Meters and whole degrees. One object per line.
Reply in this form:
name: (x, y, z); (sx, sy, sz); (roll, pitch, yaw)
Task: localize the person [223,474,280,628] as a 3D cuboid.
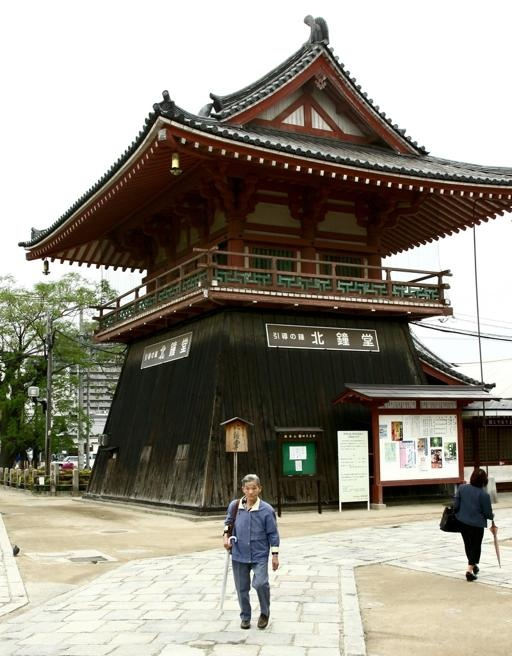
person: (-0.078, 1.949, 5.464); (0.529, 1.253, 0.477); (-3, -15, 13)

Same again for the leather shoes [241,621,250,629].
leather shoes: (-0.087, 2.517, 5.260); (0.082, 0.053, 0.119); (1, -14, -1)

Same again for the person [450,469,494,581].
person: (2.774, 2.472, 7.907); (0.463, 1.301, 0.810); (-4, -15, 18)

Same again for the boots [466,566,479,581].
boots: (2.628, 2.998, 7.557); (0.112, 0.111, 0.281); (-2, -22, 6)
